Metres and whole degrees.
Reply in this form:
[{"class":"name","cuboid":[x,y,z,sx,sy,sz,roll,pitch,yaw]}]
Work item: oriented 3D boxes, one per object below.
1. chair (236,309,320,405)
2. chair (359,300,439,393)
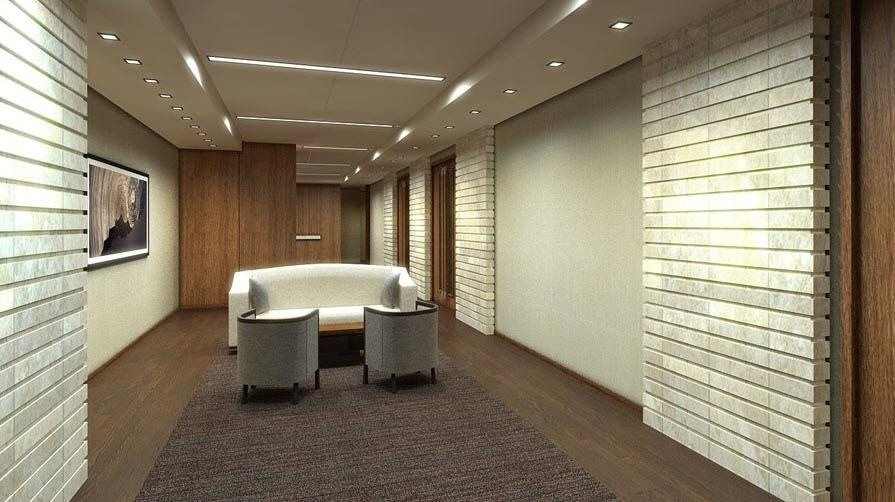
[{"class":"chair","cuboid":[-2.048,1.221,6.275,0.942,0.954,1.268,1,-1,-6]},{"class":"chair","cuboid":[-0.530,1.114,6.370,0.836,0.863,0.761,0,0,-33]}]
